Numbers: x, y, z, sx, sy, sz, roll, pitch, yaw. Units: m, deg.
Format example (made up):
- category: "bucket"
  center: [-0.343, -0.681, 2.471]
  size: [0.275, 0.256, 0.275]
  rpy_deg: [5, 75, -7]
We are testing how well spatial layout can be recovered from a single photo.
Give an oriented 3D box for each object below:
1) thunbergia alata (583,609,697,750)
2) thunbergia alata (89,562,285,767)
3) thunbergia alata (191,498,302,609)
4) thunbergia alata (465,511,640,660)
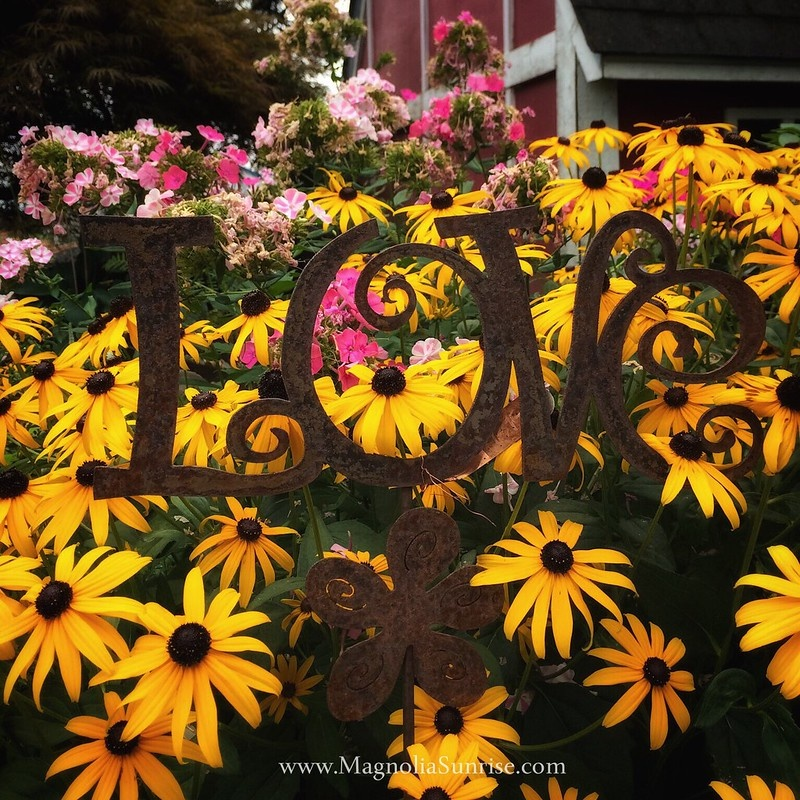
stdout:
- category: "thunbergia alata"
  center: [0.381, 0.418, 1.582]
  size: [0.225, 0.065, 0.203]
  rpy_deg: [14, 52, 2]
- category: "thunbergia alata"
  center: [-0.289, 0.365, 1.418]
  size: [0.207, 0.209, 0.183]
  rpy_deg: [-13, 17, -43]
- category: "thunbergia alata"
  center: [-0.242, 0.238, 1.686]
  size: [0.162, 0.071, 0.175]
  rpy_deg: [-13, 28, -26]
- category: "thunbergia alata"
  center: [0.248, 0.262, 1.557]
  size: [0.245, 0.075, 0.244]
  rpy_deg: [-27, 32, -26]
